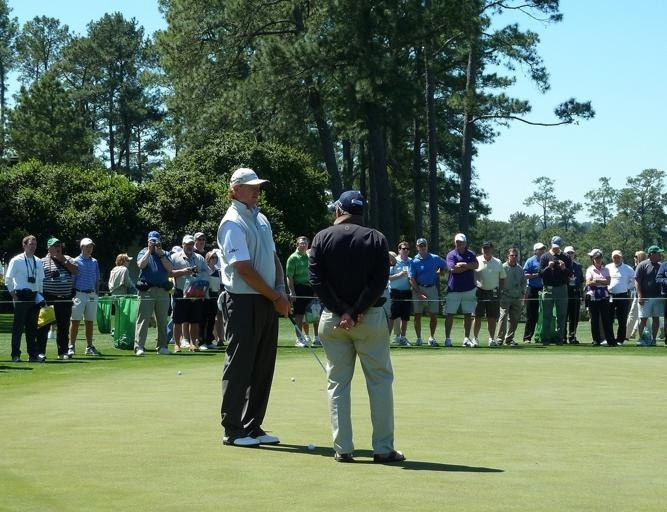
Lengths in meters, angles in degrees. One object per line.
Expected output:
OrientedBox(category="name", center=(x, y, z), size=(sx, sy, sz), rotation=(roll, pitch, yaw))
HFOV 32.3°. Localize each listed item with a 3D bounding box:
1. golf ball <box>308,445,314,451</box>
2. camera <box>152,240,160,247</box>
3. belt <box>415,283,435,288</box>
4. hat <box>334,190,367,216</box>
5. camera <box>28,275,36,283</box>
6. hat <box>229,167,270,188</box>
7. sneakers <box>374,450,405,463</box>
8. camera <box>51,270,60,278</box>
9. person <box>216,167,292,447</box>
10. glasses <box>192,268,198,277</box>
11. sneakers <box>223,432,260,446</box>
OrientedBox(category="golf ball", center=(-0.300, 2.468, 14.810), size=(0.056, 0.060, 0.059), rotation=(2, 7, 0))
OrientedBox(category="camera", center=(-3.371, -0.233, 21.907), size=(0.096, 0.128, 0.256), rotation=(1, 9, 7))
OrientedBox(category="belt", center=(1.962, 0.638, 24.555), size=(0.437, 0.088, 0.144), rotation=(-3, 9, -19))
OrientedBox(category="hat", center=(0.190, -0.691, 15.167), size=(0.254, 0.230, 0.373), rotation=(-2, 15, -17))
OrientedBox(category="camera", center=(-5.465, 0.439, 20.835), size=(0.156, 0.163, 0.084), rotation=(2, -9, -20))
OrientedBox(category="hat", center=(-1.181, -1.035, 15.417), size=(0.393, 0.211, 0.282), rotation=(1, 6, 12))
OrientedBox(category="sneakers", center=(0.693, 2.545, 14.477), size=(0.358, 0.168, 0.159), rotation=(-3, 2, -2))
OrientedBox(category="camera", center=(-5.175, 0.354, 21.412), size=(0.178, 0.191, 0.098), rotation=(0, -7, -7))
OrientedBox(category="person", center=(-1.132, 0.662, 15.213), size=(0.886, 3.502, 1.072), rotation=(4, 9, 24))
OrientedBox(category="glasses", center=(-2.725, 0.329, 22.502), size=(0.131, 0.142, 0.048), rotation=(1, 1, -43))
OrientedBox(category="sneakers", center=(-1.207, 2.368, 14.962), size=(0.330, 0.152, 0.192), rotation=(-3, -3, 14))
